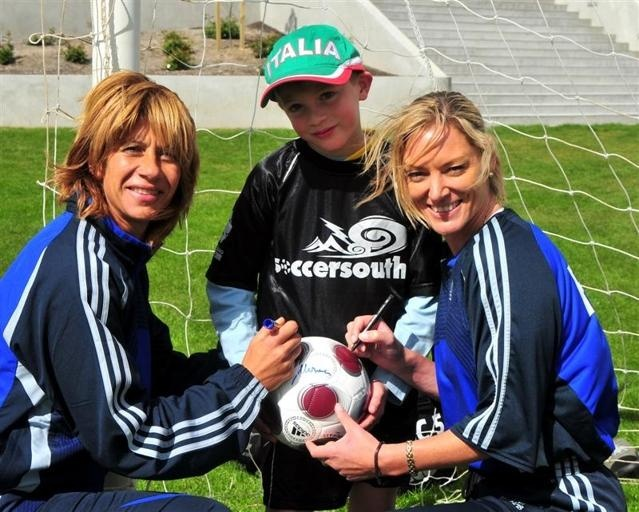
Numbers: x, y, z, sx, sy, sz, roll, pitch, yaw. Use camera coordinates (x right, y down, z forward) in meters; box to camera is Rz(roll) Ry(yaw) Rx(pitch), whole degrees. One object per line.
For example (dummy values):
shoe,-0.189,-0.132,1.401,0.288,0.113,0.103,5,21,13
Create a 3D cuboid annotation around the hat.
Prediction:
hat,-0.031,-0.793,3.057,0.428,0.339,0.244,2,16,0
